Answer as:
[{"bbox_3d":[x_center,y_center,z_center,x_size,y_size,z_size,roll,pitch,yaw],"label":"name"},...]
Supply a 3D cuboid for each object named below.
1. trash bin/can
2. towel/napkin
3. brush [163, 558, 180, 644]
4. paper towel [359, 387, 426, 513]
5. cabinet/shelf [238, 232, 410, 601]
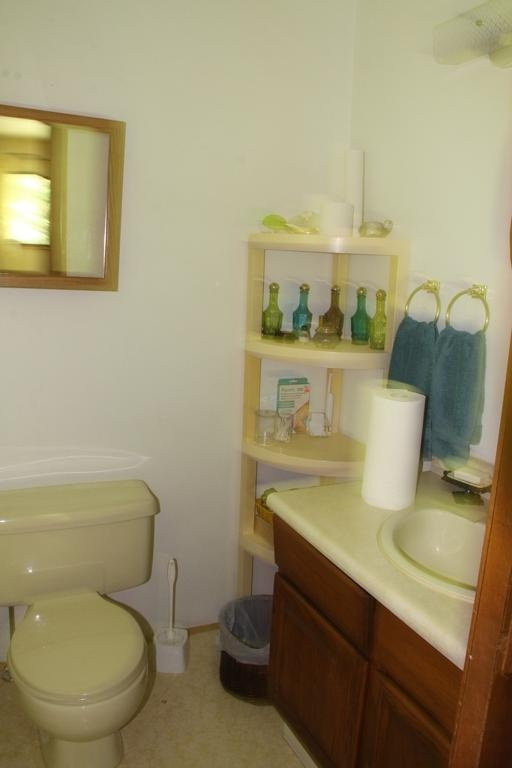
[{"bbox_3d":[-0.036,0.839,1.859,0.209,0.235,0.246,1,-14,5],"label":"trash bin/can"},{"bbox_3d":[0.420,0.030,1.450,0.094,0.312,0.293,-4,13,-16],"label":"towel/napkin"},{"bbox_3d":[-0.292,0.733,2.007,0.038,0.307,0.143,2,8,-8],"label":"brush"},{"bbox_3d":[0.320,0.165,1.382,0.124,0.275,0.072,5,8,12],"label":"paper towel"},{"bbox_3d":[0.157,-0.039,1.985,0.320,0.866,0.260,4,-2,36],"label":"cabinet/shelf"}]
